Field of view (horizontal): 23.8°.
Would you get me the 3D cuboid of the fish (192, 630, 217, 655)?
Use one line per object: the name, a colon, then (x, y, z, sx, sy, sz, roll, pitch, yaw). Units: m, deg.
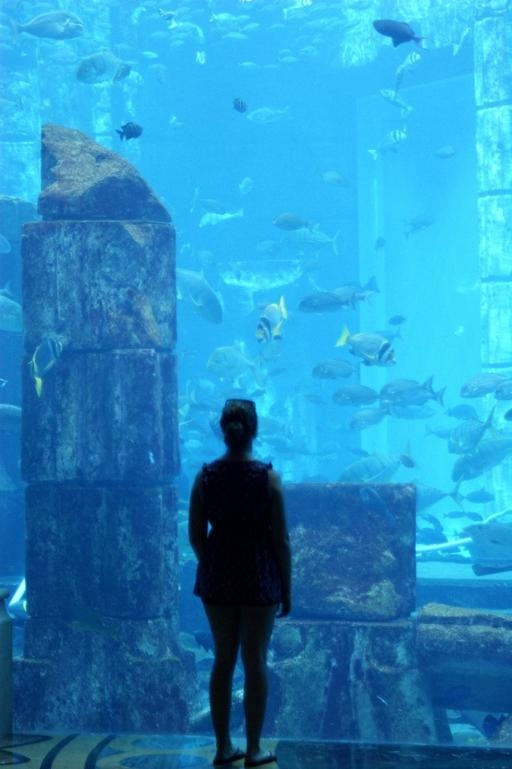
fish: (-0.634, 3.179, 14.990, 0.244, 0.315, 0.271, -2, 1, 0)

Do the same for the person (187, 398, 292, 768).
person: (-0.127, 1.608, 9.742, 0.799, 2.944, 0.295, -1, -3, -5)
